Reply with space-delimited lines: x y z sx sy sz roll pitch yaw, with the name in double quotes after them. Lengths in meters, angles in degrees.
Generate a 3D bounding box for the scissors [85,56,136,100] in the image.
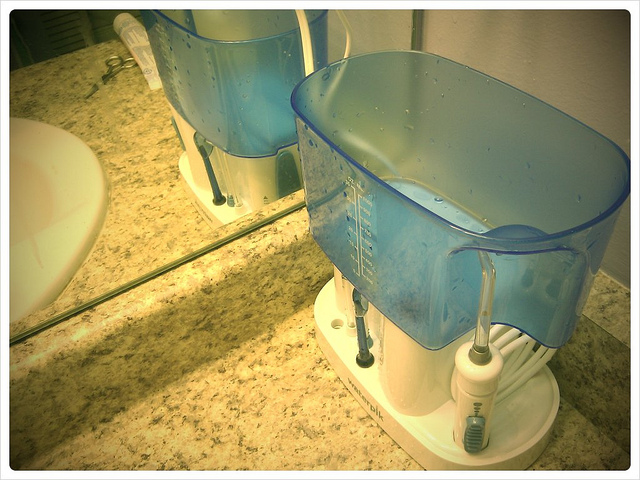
-0.326 -0.248 0.755 0.068 0.038 0.009 -48 10 0 "scissors"
